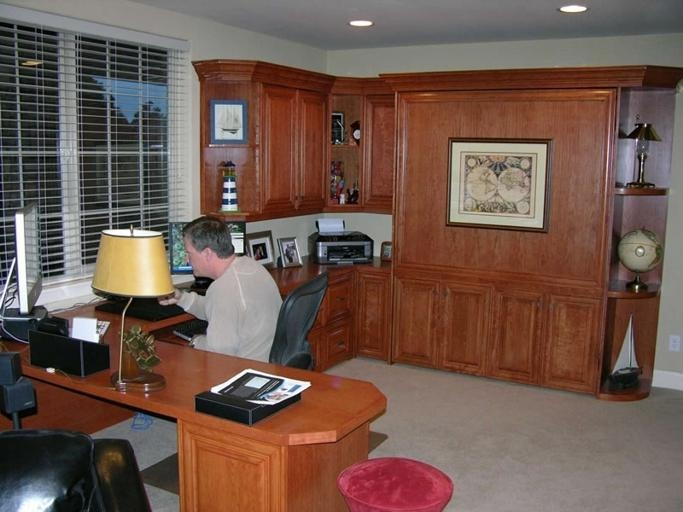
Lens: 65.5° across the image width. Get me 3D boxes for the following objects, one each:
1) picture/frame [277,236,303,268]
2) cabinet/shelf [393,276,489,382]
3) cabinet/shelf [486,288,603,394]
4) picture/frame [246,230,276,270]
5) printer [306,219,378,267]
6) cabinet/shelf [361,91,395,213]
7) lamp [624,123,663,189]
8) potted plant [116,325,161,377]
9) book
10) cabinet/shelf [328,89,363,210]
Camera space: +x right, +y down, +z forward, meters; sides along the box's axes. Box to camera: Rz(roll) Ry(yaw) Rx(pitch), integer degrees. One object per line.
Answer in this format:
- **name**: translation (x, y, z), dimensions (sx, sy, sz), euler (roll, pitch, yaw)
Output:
- **picture/frame**: translation (-0.539, -0.037, 5.408), dimensions (0.038, 0.354, 0.303), euler (-18, -5, 42)
- **cabinet/shelf**: translation (0.993, 0.681, 5.133), dimensions (0.971, 0.812, 0.370), euler (3, 5, 22)
- **cabinet/shelf**: translation (1.867, 0.744, 4.788), dimensions (0.943, 0.792, 0.358), euler (3, 5, 21)
- **picture/frame**: translation (-0.749, -0.061, 4.878), dimensions (0.030, 0.349, 0.359), euler (-6, 6, 28)
- **printer**: translation (-0.017, -0.175, 5.653), dimensions (0.604, 0.414, 0.546), euler (-1, 12, -10)
- **cabinet/shelf**: translation (0.373, -1.075, 5.594), dimensions (0.348, 1.211, 0.133), euler (4, 13, 13)
- **lamp**: translation (2.662, -0.907, 4.710), dimensions (0.261, 0.562, 0.467), euler (8, 14, 28)
- **potted plant**: translation (-1.020, 0.481, 2.657), dimensions (0.179, 0.244, 0.233), euler (6, 8, 25)
- **book**: translation (-0.376, 0.609, 2.459), dimensions (0.198, 0.045, 0.188), euler (6, 12, 30)
- **cabinet/shelf**: translation (0.050, -1.105, 5.685), dimensions (0.335, 1.184, 0.287), euler (1, 12, 2)
